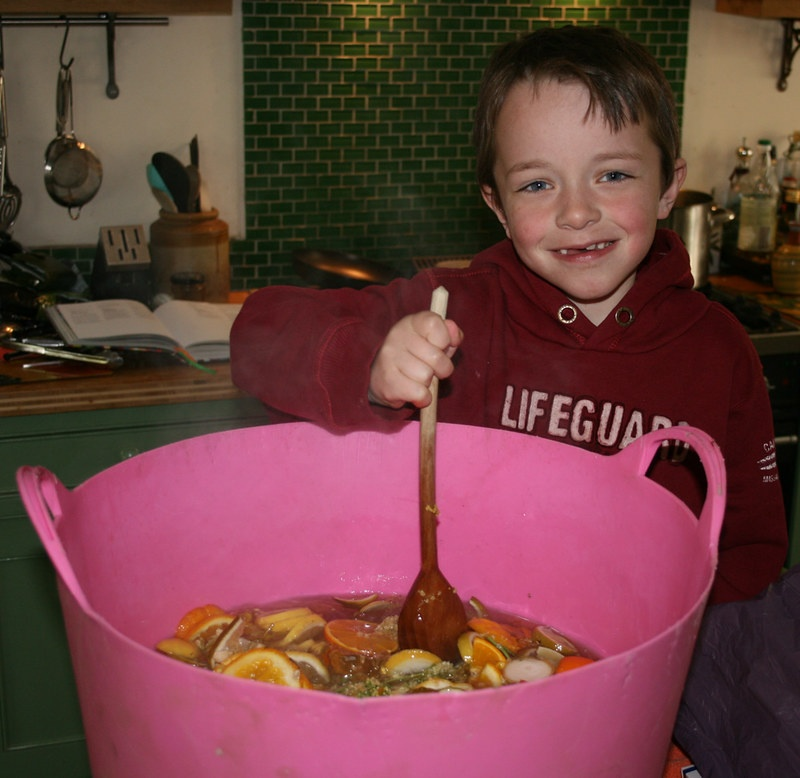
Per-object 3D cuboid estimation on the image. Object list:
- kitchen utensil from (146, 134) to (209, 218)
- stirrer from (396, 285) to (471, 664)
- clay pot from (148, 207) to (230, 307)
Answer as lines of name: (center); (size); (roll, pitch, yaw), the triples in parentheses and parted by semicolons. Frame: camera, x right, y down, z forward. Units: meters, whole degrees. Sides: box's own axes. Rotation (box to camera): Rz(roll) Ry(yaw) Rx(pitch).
kitchen utensil: (-0.489, -0.475, 1.819); (0.136, 0.181, 0.098); (-6, 22, -18)
stirrer: (0.012, 0.083, 0.725); (0.082, 0.291, 0.077); (-8, 15, -35)
clay pot: (-0.459, -0.298, 1.838); (0.156, 0.217, 0.099); (-10, 23, -34)
